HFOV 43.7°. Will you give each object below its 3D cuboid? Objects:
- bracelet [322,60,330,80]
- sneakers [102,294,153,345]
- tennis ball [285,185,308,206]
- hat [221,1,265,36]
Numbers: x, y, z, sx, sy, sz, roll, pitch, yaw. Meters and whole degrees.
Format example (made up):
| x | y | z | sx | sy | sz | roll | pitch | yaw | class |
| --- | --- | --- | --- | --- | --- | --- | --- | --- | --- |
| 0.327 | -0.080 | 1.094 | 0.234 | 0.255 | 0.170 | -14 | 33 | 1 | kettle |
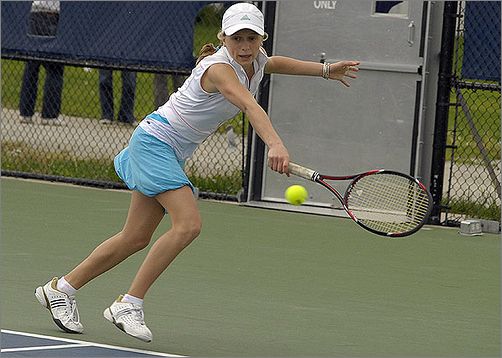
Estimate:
| x | y | z | sx | sy | sz | roll | pitch | yaw | class |
| --- | --- | --- | --- | --- | --- | --- | --- | --- | --- |
| 0.554 | -0.819 | 4.615 | 0.031 | 0.101 | 0.084 | 6 | 2 | -1 | bracelet |
| -0.801 | 0.909 | 4.152 | 0.391 | 0.197 | 0.184 | 38 | 10 | 17 | sneakers |
| 0.317 | 0.128 | 4.437 | 0.118 | 0.144 | 0.133 | -1 | 23 | 9 | tennis ball |
| -0.052 | -1.024 | 3.996 | 0.280 | 0.204 | 0.230 | 1 | 13 | -4 | hat |
